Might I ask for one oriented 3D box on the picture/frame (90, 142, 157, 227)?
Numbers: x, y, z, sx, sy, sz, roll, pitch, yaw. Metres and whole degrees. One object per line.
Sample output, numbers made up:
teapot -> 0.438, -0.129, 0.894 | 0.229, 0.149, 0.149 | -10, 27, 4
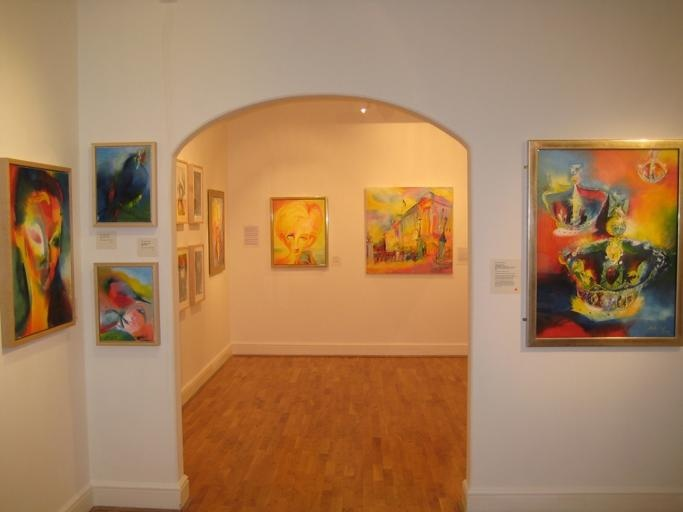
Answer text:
picture/frame -> -1.921, -0.648, 4.649 | 0.642, 0.965, 0.066 | 0, 3, 5

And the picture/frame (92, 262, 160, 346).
picture/frame -> -1.916, 0.418, 4.695 | 0.646, 0.952, 0.063 | 0, 5, 4

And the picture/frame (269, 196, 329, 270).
picture/frame -> -0.652, -0.415, 8.505 | 1.024, 1.392, 0.100 | 0, 7, 2
